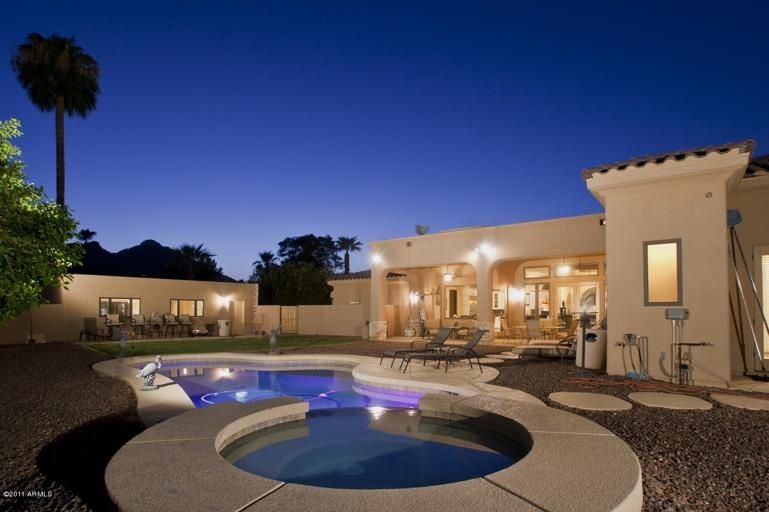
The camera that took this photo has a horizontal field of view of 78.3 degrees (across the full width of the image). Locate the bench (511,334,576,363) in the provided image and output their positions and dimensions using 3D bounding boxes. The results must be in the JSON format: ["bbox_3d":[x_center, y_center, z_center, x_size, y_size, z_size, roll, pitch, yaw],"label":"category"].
[{"bbox_3d":[4.784,2.853,13.822,1.158,0.506,1.252,-2,-7,23],"label":"bench"}]

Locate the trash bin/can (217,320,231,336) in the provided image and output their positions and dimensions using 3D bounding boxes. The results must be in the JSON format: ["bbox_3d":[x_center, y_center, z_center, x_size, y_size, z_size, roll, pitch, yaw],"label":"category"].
[{"bbox_3d":[-8.392,3.916,24.905,0.756,0.801,0.771,-3,-5,19],"label":"trash bin/can"}]

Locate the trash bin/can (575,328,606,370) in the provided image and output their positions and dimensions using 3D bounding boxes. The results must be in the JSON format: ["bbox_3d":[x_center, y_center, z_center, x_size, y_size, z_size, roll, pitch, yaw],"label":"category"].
[{"bbox_3d":[5.287,2.428,12.027,0.732,1.022,0.459,1,9,12],"label":"trash bin/can"}]
